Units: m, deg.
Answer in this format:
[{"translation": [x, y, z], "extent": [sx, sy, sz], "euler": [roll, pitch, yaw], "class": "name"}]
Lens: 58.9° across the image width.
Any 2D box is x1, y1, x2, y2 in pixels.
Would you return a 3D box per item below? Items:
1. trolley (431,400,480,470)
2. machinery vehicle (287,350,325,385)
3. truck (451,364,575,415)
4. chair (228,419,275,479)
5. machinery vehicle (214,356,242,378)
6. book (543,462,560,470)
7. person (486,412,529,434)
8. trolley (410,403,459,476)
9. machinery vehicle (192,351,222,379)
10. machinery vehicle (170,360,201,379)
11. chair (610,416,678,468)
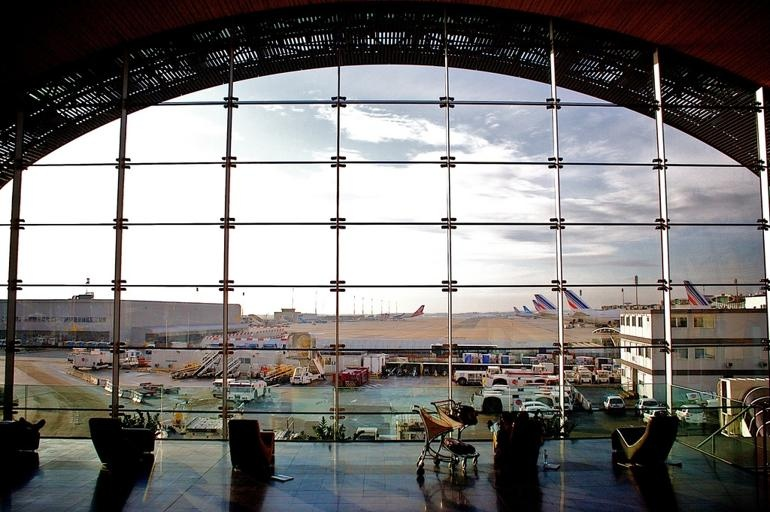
[{"translation": [1.272, 3.951, 14.806], "extent": [1.548, 1.378, 1.102], "euler": [-2, -9, 7], "class": "trolley"}, {"translation": [-1.858, 2.793, 16.588], "extent": [0.517, 0.566, 1.234], "euler": [-3, -8, 7], "class": "machinery vehicle"}, {"translation": [3.316, 3.272, 16.942], "extent": [3.235, 1.241, 1.133], "euler": [1, -4, 3], "class": "truck"}, {"translation": [-2.961, 4.110, 14.711], "extent": [1.116, 0.955, 1.153], "euler": [-1, -20, -19], "class": "chair"}, {"translation": [-3.631, 2.629, 16.128], "extent": [0.530, 0.526, 0.213], "euler": [5, -10, -7], "class": "machinery vehicle"}, {"translation": [3.594, 4.491, 14.600], "extent": [0.391, 0.137, 0.321], "euler": [-2, -11, 11], "class": "book"}, {"translation": [2.685, 3.592, 14.890], "extent": [0.678, 0.313, 0.786], "euler": [2, -13, -21], "class": "person"}, {"translation": [1.164, 3.968, 15.159], "extent": [1.495, 1.444, 1.032], "euler": [-3, -8, 3], "class": "trolley"}, {"translation": [-4.272, 2.655, 16.509], "extent": [0.799, 0.638, 0.226], "euler": [6, 6, 20], "class": "machinery vehicle"}, {"translation": [-4.832, 2.820, 16.682], "extent": [0.618, 0.176, 0.463], "euler": [-22, -30, 7], "class": "machinery vehicle"}, {"translation": [5.709, 3.970, 14.916], "extent": [0.914, 0.892, 1.437], "euler": [3, -10, -13], "class": "chair"}]
